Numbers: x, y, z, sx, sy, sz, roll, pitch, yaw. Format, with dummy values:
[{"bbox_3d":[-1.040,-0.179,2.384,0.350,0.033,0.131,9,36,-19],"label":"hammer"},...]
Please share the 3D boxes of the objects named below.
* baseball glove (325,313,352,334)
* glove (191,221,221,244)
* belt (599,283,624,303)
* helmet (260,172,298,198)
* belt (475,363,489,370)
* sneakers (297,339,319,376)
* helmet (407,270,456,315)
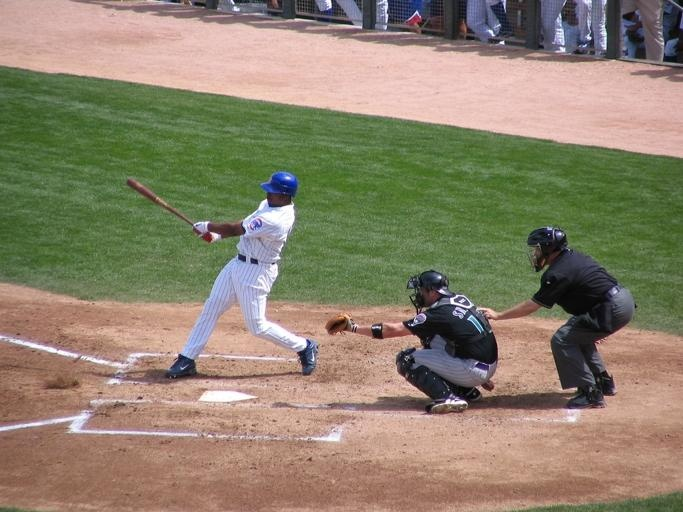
[{"bbox_3d":[-0.032,0.978,17.374,0.384,0.236,0.136,-3,-34,3],"label":"baseball glove"},{"bbox_3d":[-1.894,-0.336,17.462,0.398,0.126,0.281,28,-9,-17],"label":"glove"},{"bbox_3d":[3.779,0.517,17.282,0.246,0.060,0.235,-27,-6,-42],"label":"belt"},{"bbox_3d":[-0.857,-1.062,17.463,0.503,0.210,0.337,12,18,-15],"label":"helmet"},{"bbox_3d":[1.975,1.564,17.221,0.130,0.028,0.107,13,-35,1],"label":"belt"},{"bbox_3d":[-0.498,1.473,17.975,0.300,0.545,0.224,-7,7,-31],"label":"sneakers"},{"bbox_3d":[1.281,0.483,17.368,0.691,0.491,0.501,-2,4,34],"label":"helmet"}]
